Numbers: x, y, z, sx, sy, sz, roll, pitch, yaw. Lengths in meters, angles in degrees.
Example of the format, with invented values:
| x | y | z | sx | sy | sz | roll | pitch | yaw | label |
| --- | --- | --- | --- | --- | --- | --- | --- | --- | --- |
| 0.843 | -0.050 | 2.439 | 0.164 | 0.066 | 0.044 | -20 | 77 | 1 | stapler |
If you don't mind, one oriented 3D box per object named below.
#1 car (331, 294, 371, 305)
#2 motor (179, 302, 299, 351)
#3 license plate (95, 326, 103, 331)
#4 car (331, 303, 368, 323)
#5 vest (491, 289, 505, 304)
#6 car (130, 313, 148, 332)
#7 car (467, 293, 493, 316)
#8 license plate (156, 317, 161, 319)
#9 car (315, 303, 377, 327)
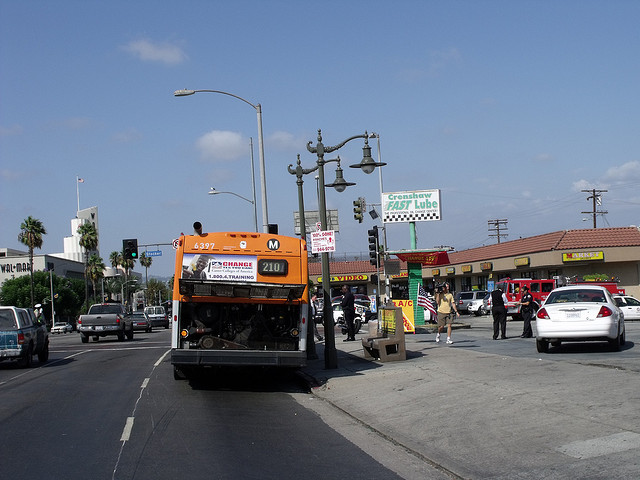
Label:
| x | y | z | sx | sy | sz | roll | pitch | yaw | label |
| --- | --- | --- | --- | --- | --- | --- | --- | --- | --- |
| 2.100 | 3.897 | 42.308 | 2.694 | 0.951 | 1.251 | 2 | -1 | -7 | car |
| -1.868 | 1.943 | 15.833 | 3.522 | 1.454 | 0.485 | 6 | 2 | -42 | motor |
| -11.855 | 4.663 | 35.072 | 0.356 | 0.201 | 0.242 | -2 | -2 | -24 | license plate |
| 1.414 | 3.878 | 36.783 | 2.471 | 1.303 | 1.529 | 4 | -5 | -16 | car |
| 6.384 | 1.979 | 23.770 | 0.555 | 0.747 | 0.418 | 2 | 8 | 14 | vest |
| -13.079 | 5.941 | 47.564 | 1.077 | 0.929 | 2.597 | 0 | 1 | -7 | car |
| 11.922 | 4.751 | 48.909 | 1.052 | 1.634 | 3.161 | -2 | -7 | -4 | car |
| -13.759 | 6.529 | 55.592 | 0.265 | 0.150 | 0.179 | -2 | -5 | -23 | license plate |
| 1.484 | 4.189 | 36.956 | 2.261 | 1.640 | 3.214 | 1 | -6 | -32 | car |
